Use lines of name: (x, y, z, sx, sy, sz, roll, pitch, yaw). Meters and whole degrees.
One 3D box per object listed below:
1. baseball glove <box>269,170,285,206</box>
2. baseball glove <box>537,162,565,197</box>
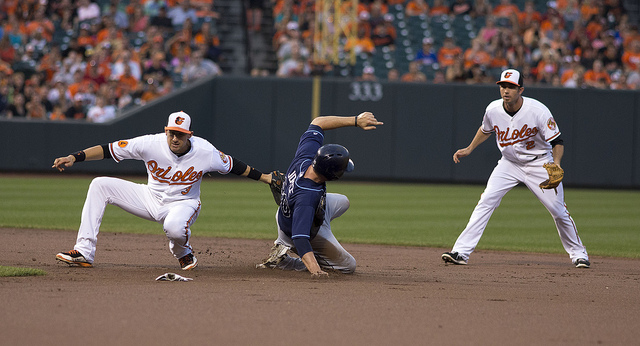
baseball glove: (-0.837, 0.298, 18.368, 0.255, 0.648, 0.291, -6, 12, 0)
baseball glove: (4.699, 0.101, 19.043, 0.312, 0.630, 0.479, 42, 4, -20)
